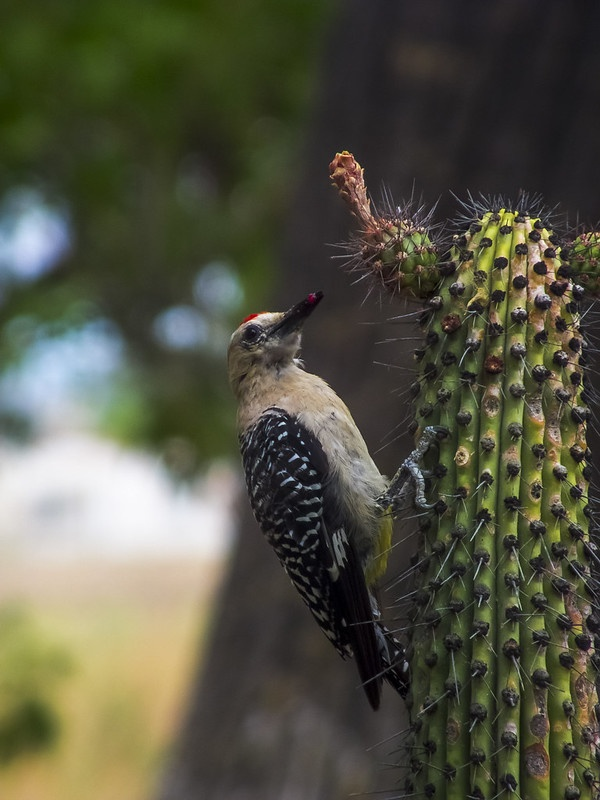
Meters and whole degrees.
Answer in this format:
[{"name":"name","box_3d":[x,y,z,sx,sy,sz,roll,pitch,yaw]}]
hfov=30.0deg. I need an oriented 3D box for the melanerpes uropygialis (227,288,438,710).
[{"name":"melanerpes uropygialis","box_3d":[0.073,0.197,4.100,0.668,1.279,0.738,19,-41,-20]}]
